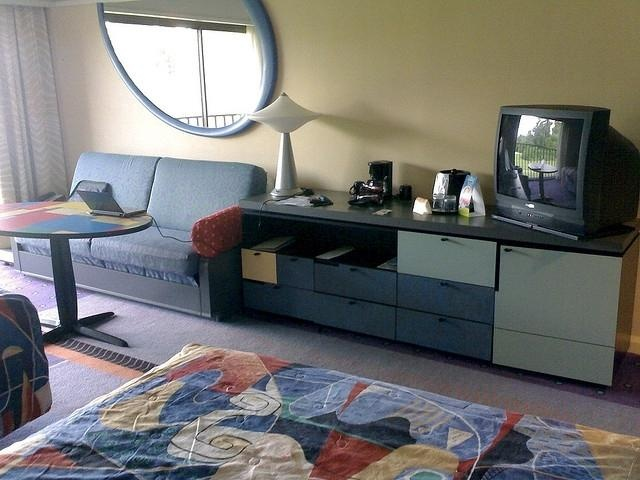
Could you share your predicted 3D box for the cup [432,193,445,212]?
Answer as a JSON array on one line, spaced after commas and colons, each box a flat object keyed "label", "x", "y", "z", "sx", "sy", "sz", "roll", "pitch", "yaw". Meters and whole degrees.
[{"label": "cup", "x": 0.724, "y": -0.221, "z": 2.949, "sx": 0.116, "sy": 0.095, "sz": 0.081, "roll": 4, "pitch": 7, "yaw": 24}]

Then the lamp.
[{"label": "lamp", "x": -0.252, "y": -0.671, "z": 3.428, "sx": 0.490, "sy": 0.743, "sz": 0.202, "roll": 0, "pitch": 12, "yaw": -8}]

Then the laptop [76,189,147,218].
[{"label": "laptop", "x": -1.454, "y": -0.240, "z": 3.268, "sx": 0.296, "sy": 0.139, "sz": 0.271, "roll": 5, "pitch": 12, "yaw": 26}]

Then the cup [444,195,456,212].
[{"label": "cup", "x": 0.795, "y": -0.214, "z": 2.926, "sx": 0.102, "sy": 0.085, "sz": 0.084, "roll": 5, "pitch": 11, "yaw": 19}]

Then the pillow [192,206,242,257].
[{"label": "pillow", "x": -0.711, "y": -0.047, "z": 3.401, "sx": 0.183, "sy": 0.219, "sz": 0.342, "roll": 15, "pitch": 28, "yaw": 30}]

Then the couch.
[{"label": "couch", "x": -1.282, "y": -0.010, "z": 3.638, "sx": 1.541, "sy": 0.645, "sz": 0.583, "roll": 5, "pitch": 11, "yaw": 28}]
